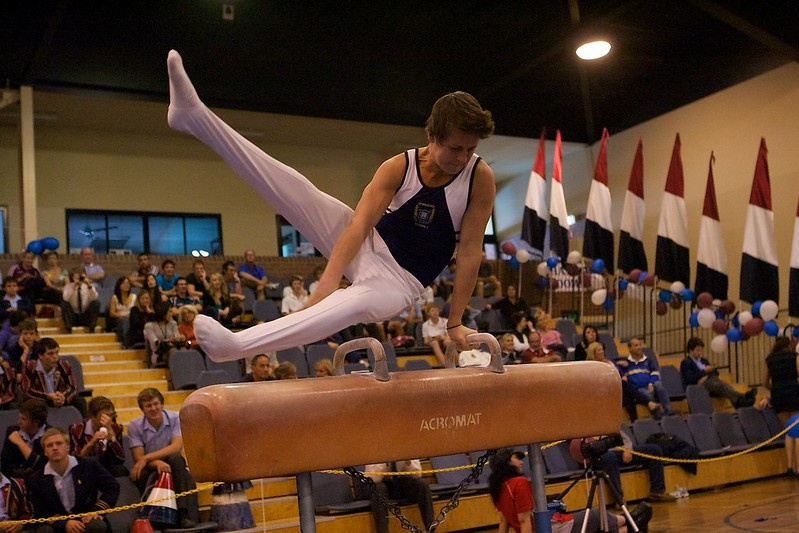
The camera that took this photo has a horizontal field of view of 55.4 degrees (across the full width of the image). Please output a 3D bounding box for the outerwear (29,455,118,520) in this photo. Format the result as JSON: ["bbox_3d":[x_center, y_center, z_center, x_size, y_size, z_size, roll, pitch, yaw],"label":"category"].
[{"bbox_3d":[-4.037,2.546,9.418,1.038,0.910,0.631,-8,-12,-23],"label":"outerwear"}]

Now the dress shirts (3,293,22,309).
[{"bbox_3d":[-6.446,0.582,12.598,0.120,0.213,0.216,-41,-20,25],"label":"dress shirts"}]

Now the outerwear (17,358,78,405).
[{"bbox_3d":[-4.873,1.578,10.508,0.513,0.731,0.704,10,-24,-30],"label":"outerwear"}]

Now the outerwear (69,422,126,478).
[{"bbox_3d":[-3.847,2.401,9.745,0.723,0.872,0.737,1,1,-15],"label":"outerwear"}]

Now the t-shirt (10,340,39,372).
[{"bbox_3d":[-5.417,1.253,10.924,0.220,0.391,0.645,16,-40,-35],"label":"t-shirt"}]

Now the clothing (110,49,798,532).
[{"bbox_3d":[-0.255,-0.642,8.287,4.880,2.923,2.387,-2,13,-36],"label":"clothing"}]

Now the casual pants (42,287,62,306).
[{"bbox_3d":[-6.244,0.524,13.566,0.339,0.384,0.132,2,22,4],"label":"casual pants"}]

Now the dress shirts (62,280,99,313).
[{"bbox_3d":[-5.595,0.541,13.287,0.483,0.631,0.545,1,-5,-28],"label":"dress shirts"}]

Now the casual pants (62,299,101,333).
[{"bbox_3d":[-5.571,0.889,13.237,0.683,0.546,0.508,0,-42,-30],"label":"casual pants"}]

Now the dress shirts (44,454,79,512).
[{"bbox_3d":[-4.030,2.621,9.124,0.310,0.624,0.158,-14,-3,-23],"label":"dress shirts"}]

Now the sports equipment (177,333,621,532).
[{"bbox_3d":[0.014,1.292,7.067,3.993,1.212,0.342,-1,10,-13],"label":"sports equipment"}]

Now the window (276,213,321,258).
[{"bbox_3d":[-2.780,-0.601,20.350,1.170,1.482,0.064,-2,-24,8],"label":"window"}]
